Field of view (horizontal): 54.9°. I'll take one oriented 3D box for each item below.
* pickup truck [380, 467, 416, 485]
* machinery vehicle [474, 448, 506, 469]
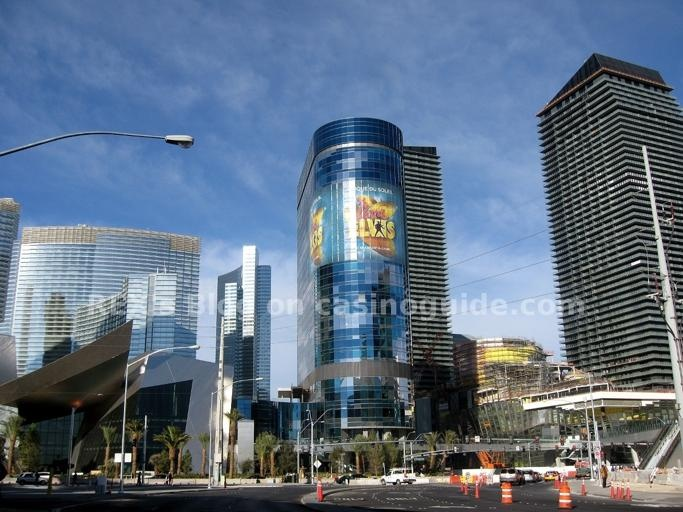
[{"bbox_3d":[8.369,32.422,96.489,4.027,1.758,2.520,-7,-19,35],"label":"pickup truck"},{"bbox_3d":[30.607,41.393,134.868,5.232,3.371,11.337,-8,-20,15],"label":"machinery vehicle"}]
